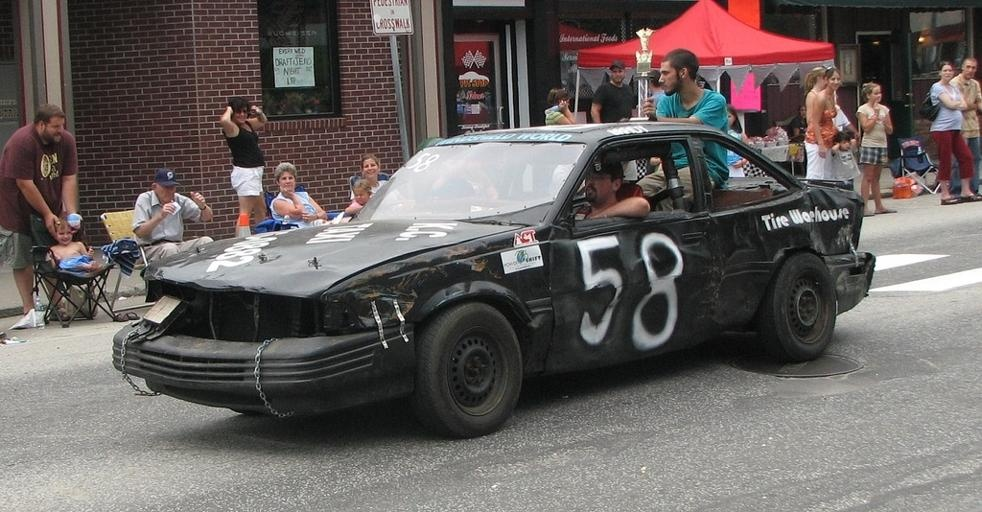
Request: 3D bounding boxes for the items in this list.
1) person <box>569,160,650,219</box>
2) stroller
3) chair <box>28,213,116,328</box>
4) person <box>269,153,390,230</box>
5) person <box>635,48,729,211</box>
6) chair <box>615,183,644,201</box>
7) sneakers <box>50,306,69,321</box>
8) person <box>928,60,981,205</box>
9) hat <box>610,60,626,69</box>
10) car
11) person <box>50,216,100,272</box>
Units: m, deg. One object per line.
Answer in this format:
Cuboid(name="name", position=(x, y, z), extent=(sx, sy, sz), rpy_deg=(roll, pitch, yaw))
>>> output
Cuboid(name="person", position=(1.283, -0.674, 8.977), extent=(0.590, 0.420, 0.776), rpy_deg=(2, -5, 44))
Cuboid(name="stroller", position=(-6.225, 0.169, 12.908), extent=(1.171, 1.386, 1.066), rpy_deg=(0, 2, 11))
Cuboid(name="chair", position=(-6.064, 0.155, 12.477), extent=(1.052, 1.421, 1.130), rpy_deg=(-10, 12, -43))
Cuboid(name="person", position=(-2.404, -0.974, 13.333), extent=(2.180, 1.130, 1.081), rpy_deg=(-11, 13, -7))
Cuboid(name="person", position=(2.341, -1.461, 11.019), extent=(1.449, 2.101, 0.958), rpy_deg=(-7, 13, -28))
Cuboid(name="chair", position=(1.488, -0.699, 9.295), extent=(0.227, 0.191, 0.210), rpy_deg=(3, -6, 11))
Cuboid(name="sneakers", position=(-6.380, 0.841, 12.723), extent=(0.192, 0.110, 0.326), rpy_deg=(1, -6, -9))
Cuboid(name="person", position=(10.216, -2.697, 18.991), extent=(1.050, 3.019, 0.814), rpy_deg=(-6, 11, -5))
Cuboid(name="hat", position=(2.704, -4.138, 18.634), extent=(0.292, 0.181, 0.353), rpy_deg=(-3, 10, 8))
Cuboid(name="car", position=(0.646, 0.266, 9.177), extent=(6.990, 2.031, 3.413), rpy_deg=(-1, 1, -32))
Cuboid(name="person", position=(-6.145, -0.101, 12.532), extent=(0.603, 0.791, 1.009), rpy_deg=(-19, 22, -30))
